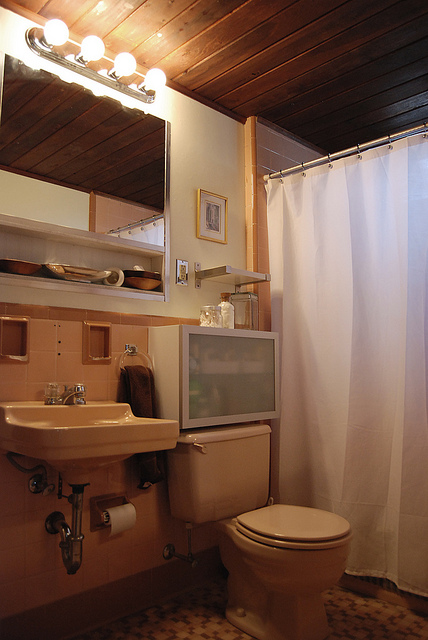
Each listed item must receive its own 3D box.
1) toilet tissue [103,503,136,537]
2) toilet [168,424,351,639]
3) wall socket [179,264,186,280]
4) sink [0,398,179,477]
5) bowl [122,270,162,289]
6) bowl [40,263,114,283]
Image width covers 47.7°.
[{"bbox_3d":[-0.306,0.652,1.591,0.046,0.101,0.120,-2,1,40],"label":"toilet tissue"},{"bbox_3d":[0.252,0.751,1.891,0.699,0.781,0.574,-10,-12,41],"label":"toilet"},{"bbox_3d":[-0.136,-0.210,2.118,0.010,0.063,0.046,-2,1,36],"label":"wall socket"},{"bbox_3d":[-0.365,0.316,1.440,0.344,0.205,0.462,-2,1,41],"label":"sink"},{"bbox_3d":[-0.275,-0.163,1.946,0.074,0.073,0.191,-2,1,40],"label":"bowl"},{"bbox_3d":[-0.477,-0.163,1.691,0.155,0.058,0.220,7,3,39],"label":"bowl"}]
